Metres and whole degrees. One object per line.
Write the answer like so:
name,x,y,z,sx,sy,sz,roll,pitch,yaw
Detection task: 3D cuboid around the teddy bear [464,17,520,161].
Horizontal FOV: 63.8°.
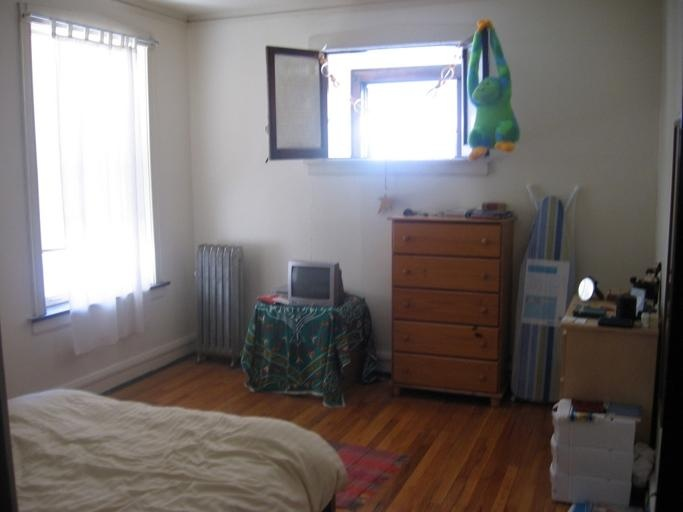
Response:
teddy bear,0.924,-1.001,3.325,0.300,0.816,0.149,2,12,14

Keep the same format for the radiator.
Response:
radiator,-1.134,0.454,5.070,0.450,1.080,0.232,3,12,18

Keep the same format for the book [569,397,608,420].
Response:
book,1.409,0.882,3.133,0.200,0.048,0.188,3,13,19

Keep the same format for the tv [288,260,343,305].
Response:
tv,-0.204,0.165,4.651,0.519,0.502,0.306,1,4,18

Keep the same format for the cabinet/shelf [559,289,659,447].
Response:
cabinet/shelf,1.675,0.655,3.587,0.548,0.919,0.887,2,2,23
